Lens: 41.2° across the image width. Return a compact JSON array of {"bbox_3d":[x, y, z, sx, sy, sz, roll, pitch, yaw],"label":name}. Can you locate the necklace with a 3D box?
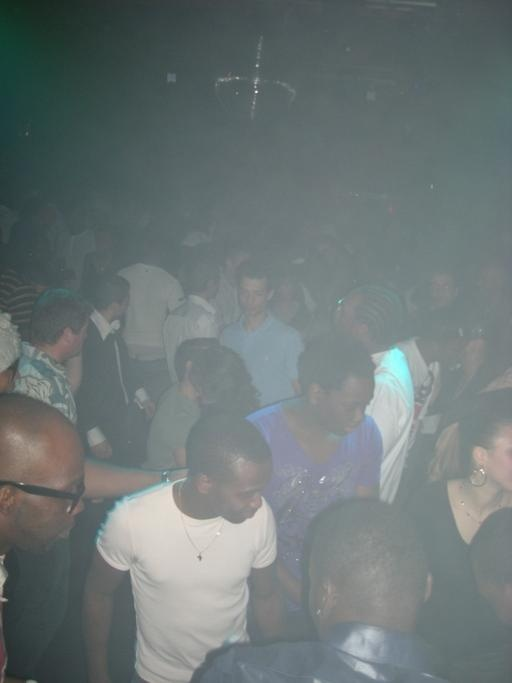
[{"bbox_3d":[-0.176,0.595,2.287,0.175,0.245,0.060,8,-5,-3],"label":"necklace"}]

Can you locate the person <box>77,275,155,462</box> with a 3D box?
[{"bbox_3d":[-0.462,0.061,2.295,0.228,0.885,0.279,-7,24,-12],"label":"person"}]
